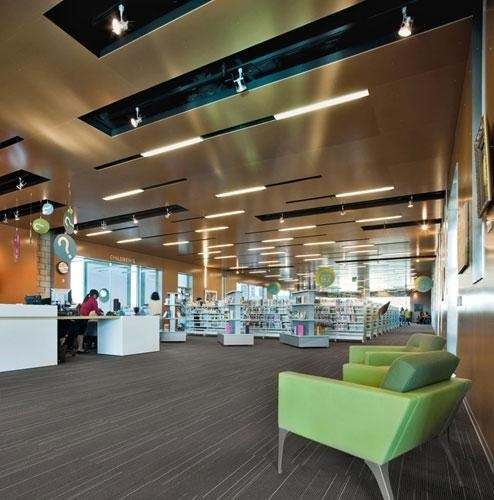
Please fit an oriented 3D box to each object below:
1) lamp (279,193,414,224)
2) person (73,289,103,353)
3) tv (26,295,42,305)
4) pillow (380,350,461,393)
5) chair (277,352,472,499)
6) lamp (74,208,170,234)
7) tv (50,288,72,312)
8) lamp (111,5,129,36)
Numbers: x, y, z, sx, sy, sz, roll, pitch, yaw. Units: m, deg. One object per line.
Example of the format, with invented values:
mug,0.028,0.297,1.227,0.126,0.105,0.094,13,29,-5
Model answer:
lamp,2.715,-1.068,9.954,3.376,0.287,0.643,-5,-11,28
person,-4.017,1.806,9.455,0.543,1.585,2.264,4,-10,-24
tv,-4.955,1.146,8.635,0.345,0.189,0.327,2,-9,-8
pillow,1.147,0.784,2.440,0.553,0.213,0.204,6,-10,-31
chair,0.910,0.905,2.679,0.954,1.061,1.047,6,-7,-43
lamp,-3.682,-0.876,11.296,4.481,0.288,0.781,-6,-12,33
tv,-4.607,1.233,9.228,0.177,0.589,0.541,0,-4,22
lamp,-1.239,-2.218,3.642,0.105,0.168,0.042,1,9,8
